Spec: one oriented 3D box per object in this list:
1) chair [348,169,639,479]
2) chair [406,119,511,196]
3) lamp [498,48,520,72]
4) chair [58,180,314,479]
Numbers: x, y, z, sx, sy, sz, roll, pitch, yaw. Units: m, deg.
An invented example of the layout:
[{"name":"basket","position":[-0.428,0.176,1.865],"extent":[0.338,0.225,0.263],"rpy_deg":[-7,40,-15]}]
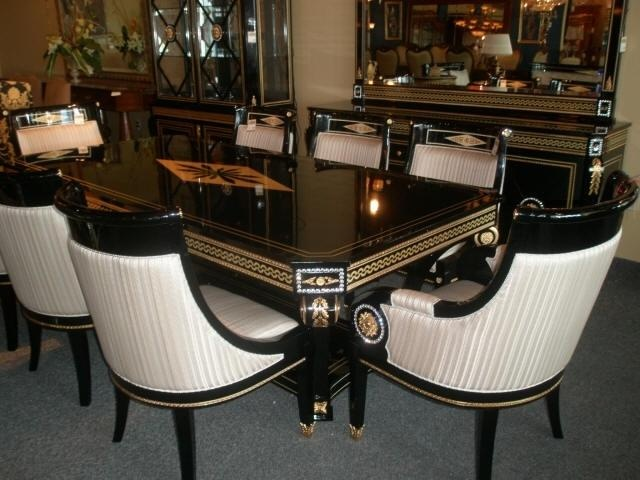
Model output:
[{"name":"chair","position":[0.721,0.159,2.236],"extent":[1.042,1.403,1.071],"rpy_deg":[-19,29,-35]},{"name":"chair","position":[0.651,-0.393,2.440],"extent":[0.484,0.336,0.263],"rpy_deg":[20,38,31]},{"name":"lamp","position":[1.273,-1.193,3.401],"extent":[0.119,0.162,0.130],"rpy_deg":[-32,44,-24]},{"name":"chair","position":[-0.508,0.328,1.867],"extent":[0.870,1.082,0.533],"rpy_deg":[7,25,19]}]
